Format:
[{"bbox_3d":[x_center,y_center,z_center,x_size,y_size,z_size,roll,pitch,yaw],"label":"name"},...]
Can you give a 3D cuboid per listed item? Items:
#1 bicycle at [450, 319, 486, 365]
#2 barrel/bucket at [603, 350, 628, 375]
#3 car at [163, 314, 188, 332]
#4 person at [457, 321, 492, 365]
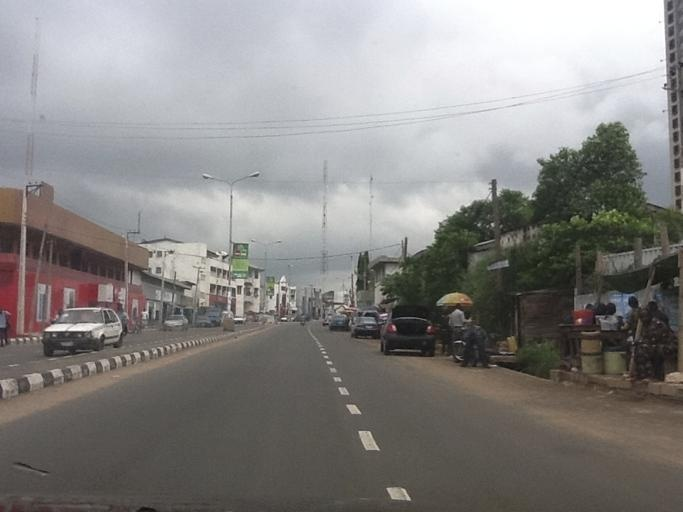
[{"bbox_3d":[4.332,3.178,23.207,0.953,1.387,2.264,4,-27,0],"label":"bicycle"},{"bbox_3d":[6.868,2.633,17.469,0.517,0.616,0.522,2,1,0],"label":"barrel/bucket"},{"bbox_3d":[-14.665,5.886,60.881,1.522,1.226,2.578,0,-3,7],"label":"car"},{"bbox_3d":[4.372,2.871,22.675,0.815,1.480,0.989,0,-2,17],"label":"person"}]
